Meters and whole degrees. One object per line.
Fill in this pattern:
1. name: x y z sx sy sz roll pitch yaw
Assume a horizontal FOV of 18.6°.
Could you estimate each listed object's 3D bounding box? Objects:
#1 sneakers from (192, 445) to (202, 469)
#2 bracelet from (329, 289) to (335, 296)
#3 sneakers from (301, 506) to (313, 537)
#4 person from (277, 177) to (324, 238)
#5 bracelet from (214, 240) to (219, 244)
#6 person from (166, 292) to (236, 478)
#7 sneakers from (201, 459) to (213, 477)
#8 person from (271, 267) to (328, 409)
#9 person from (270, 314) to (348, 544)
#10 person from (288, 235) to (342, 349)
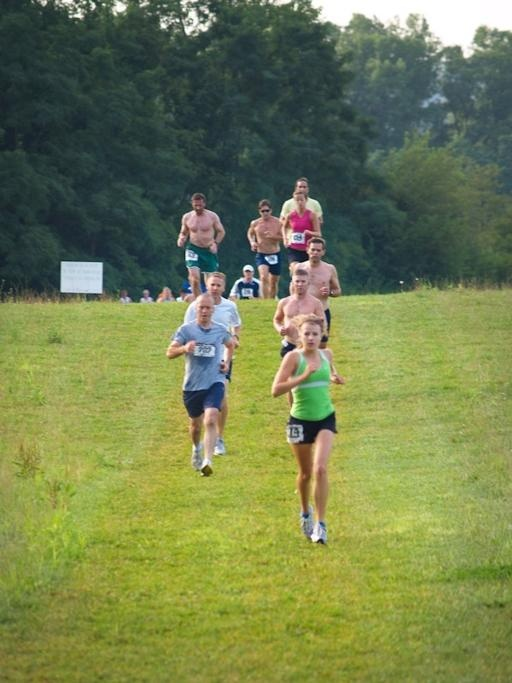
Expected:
1. sneakers: -0.879 1.713 23.080 0.113 0.386 0.152 -2 12 -2
2. bracelet: 1.207 -0.765 24.607 0.060 0.101 0.032 -1 4 -5
3. sneakers: 0.695 2.442 21.187 0.126 0.402 0.143 -3 7 9
4. person: 0.847 -2.352 28.429 0.785 1.397 0.685 -3 -41 1
5. bracelet: -0.724 -1.800 28.447 0.068 0.079 0.076 12 -28 -20
6. person: -0.777 0.587 22.283 0.789 2.519 1.408 0 0 8
7. sneakers: -0.684 1.786 21.718 0.102 0.155 0.318 1 -43 -3
8. person: 0.648 0.001 23.451 0.713 2.187 0.631 2 14 11
9. person: 0.661 1.203 20.764 0.759 3.074 0.702 0 0 -5
10. person: 0.899 -0.458 24.823 0.865 2.465 0.708 -1 16 -7
